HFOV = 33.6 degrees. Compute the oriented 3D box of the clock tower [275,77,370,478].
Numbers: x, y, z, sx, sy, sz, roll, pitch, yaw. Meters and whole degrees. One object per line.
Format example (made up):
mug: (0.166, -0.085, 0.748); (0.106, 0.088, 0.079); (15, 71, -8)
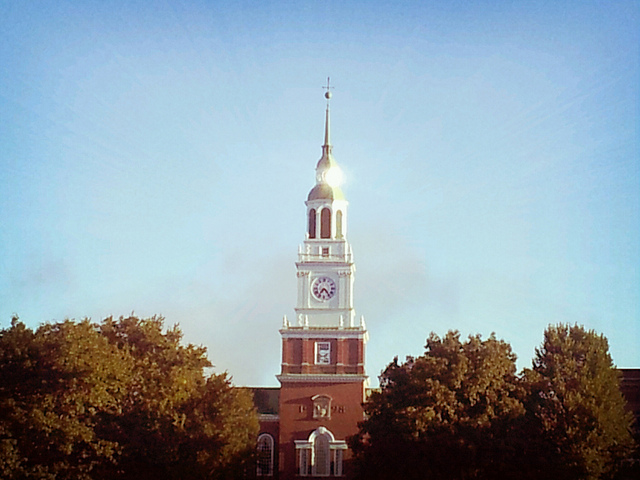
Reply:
clock tower: (0.247, 4.139, 94.764); (6.871, 32.828, 4.185); (2, -23, -2)
